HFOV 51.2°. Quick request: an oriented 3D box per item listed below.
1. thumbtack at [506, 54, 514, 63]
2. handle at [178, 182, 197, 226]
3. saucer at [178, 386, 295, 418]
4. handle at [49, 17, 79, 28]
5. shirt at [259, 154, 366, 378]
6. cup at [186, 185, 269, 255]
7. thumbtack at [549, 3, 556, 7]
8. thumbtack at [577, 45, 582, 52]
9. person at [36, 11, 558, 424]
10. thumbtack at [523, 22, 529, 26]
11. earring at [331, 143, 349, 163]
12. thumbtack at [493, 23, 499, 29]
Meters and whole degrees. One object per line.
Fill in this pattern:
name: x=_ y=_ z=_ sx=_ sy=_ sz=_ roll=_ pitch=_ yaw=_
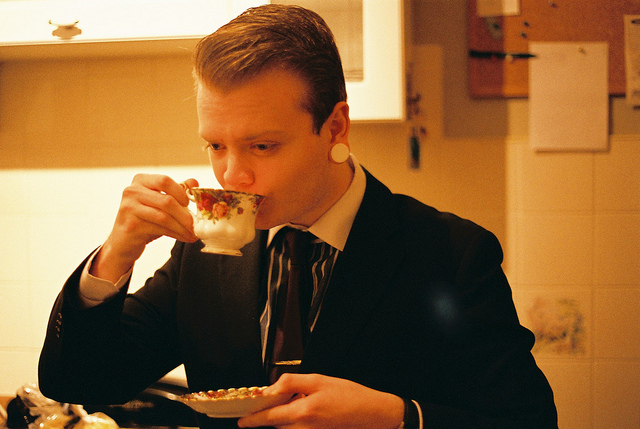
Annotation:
thumbtack: x=0.768 y=-0.628 z=2.698 sx=0.029 sy=0.027 sz=0.009 roll=-1 pitch=-5 yaw=4
handle: x=-0.422 y=-0.035 z=2.138 sx=0.050 sy=0.137 sz=0.123 roll=-2 pitch=2 yaw=-13
saucer: x=-0.242 y=0.553 z=1.958 sx=0.318 sy=0.107 sz=0.113 roll=-1 pitch=2 yaw=12
handle: x=-0.936 y=-0.704 z=2.452 sx=0.107 sy=0.035 sz=0.010 roll=-1 pitch=2 yaw=1
shirt: x=-0.047 y=0.174 z=2.215 sx=0.342 sy=0.680 sz=0.159 roll=3 pitch=-14 yaw=24
cup: x=-0.304 y=0.035 z=2.149 sx=0.310 sy=0.187 sz=0.304 roll=5 pitch=-12 yaw=1
thumbtack: x=0.939 y=-0.844 z=2.694 sx=0.025 sy=0.015 sz=0.001 roll=-1 pitch=2 yaw=-2
thumbtack: x=1.048 y=-0.667 z=2.690 sx=0.018 sy=0.026 sz=0.004 roll=-2 pitch=2 yaw=-9
person: x=-0.075 y=-0.001 z=2.105 sx=1.530 sy=1.278 sz=0.554 roll=0 pitch=2 yaw=18
thumbtack: x=0.834 y=-0.769 z=2.697 sx=0.014 sy=0.016 sz=0.004 roll=2 pitch=-3 yaw=6
earring: x=0.065 y=-0.197 z=2.137 sx=0.059 sy=0.062 sz=0.012 roll=-2 pitch=2 yaw=-18
thumbtack: x=0.712 y=-0.761 z=2.700 sx=0.023 sy=0.022 sz=0.006 roll=-1 pitch=-1 yaw=6
